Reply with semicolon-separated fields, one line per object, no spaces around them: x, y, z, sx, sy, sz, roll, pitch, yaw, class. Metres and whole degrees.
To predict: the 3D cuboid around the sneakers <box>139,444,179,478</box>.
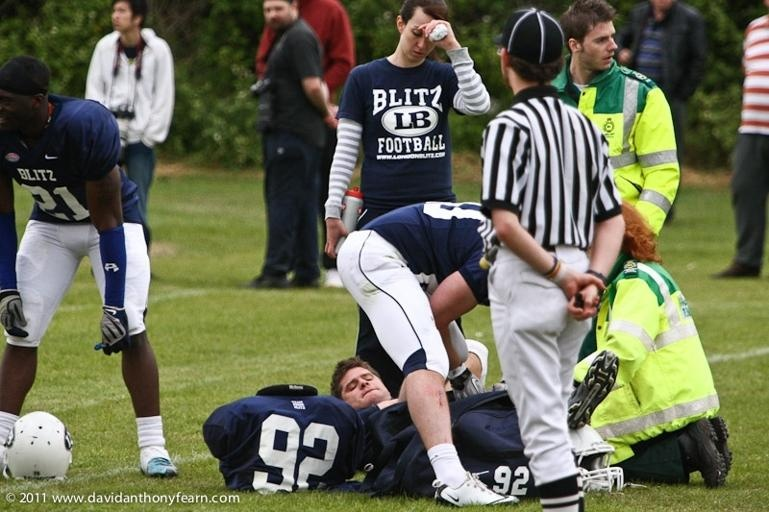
-1.528;1.375;9.253;0.140;0.121;0.292;0;-2;-31;sneakers

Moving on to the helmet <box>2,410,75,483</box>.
-2.279;1.261;9.082;0.386;0.374;0.468;4;23;-6;helmet

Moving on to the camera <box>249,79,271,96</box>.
-0.829;-1.105;9.071;0.095;0.127;0.054;38;10;-13;camera

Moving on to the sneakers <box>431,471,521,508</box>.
0.548;1.476;8.792;0.569;0.227;0.190;1;0;-3;sneakers

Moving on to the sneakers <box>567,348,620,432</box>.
1.330;0.873;8.978;0.220;0.621;0.266;30;30;-3;sneakers

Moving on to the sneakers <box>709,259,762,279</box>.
3.723;0.134;14.903;0.649;0.257;0.200;1;3;-2;sneakers

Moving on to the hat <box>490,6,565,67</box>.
0.889;-1.320;8.339;0.296;0.219;0.381;1;40;-5;hat

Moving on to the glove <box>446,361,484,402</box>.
0.538;0.862;9.842;0.195;0.260;0.262;-46;22;-12;glove

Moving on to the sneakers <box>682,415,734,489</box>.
2.159;1.288;9.286;0.210;0.588;0.274;0;-19;-43;sneakers

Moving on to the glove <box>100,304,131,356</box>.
-1.804;0.488;9.173;0.218;0.310;0.184;-3;15;-19;glove
